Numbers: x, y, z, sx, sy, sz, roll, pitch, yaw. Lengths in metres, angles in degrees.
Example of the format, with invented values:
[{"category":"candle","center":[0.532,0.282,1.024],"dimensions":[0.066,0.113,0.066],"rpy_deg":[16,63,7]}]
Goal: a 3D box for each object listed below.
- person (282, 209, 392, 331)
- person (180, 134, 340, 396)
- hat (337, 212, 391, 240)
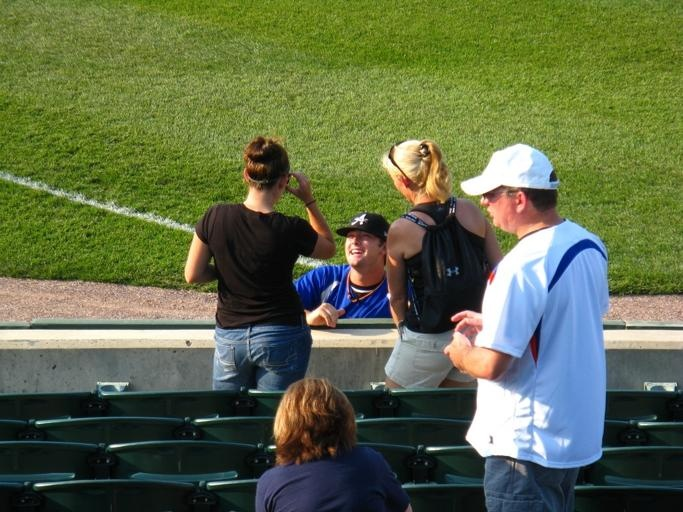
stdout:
[{"category":"person","center":[-0.054,0.208,19.686],"dimensions":[1.328,1.166,0.676],"rpy_deg":[10,21,15]},{"category":"person","center":[-0.962,0.106,18.850],"dimensions":[1.591,2.862,1.029],"rpy_deg":[-2,19,-5]},{"category":"hat","center":[0.292,-0.401,19.746],"dimensions":[0.503,0.225,0.345],"rpy_deg":[15,1,-10]}]
